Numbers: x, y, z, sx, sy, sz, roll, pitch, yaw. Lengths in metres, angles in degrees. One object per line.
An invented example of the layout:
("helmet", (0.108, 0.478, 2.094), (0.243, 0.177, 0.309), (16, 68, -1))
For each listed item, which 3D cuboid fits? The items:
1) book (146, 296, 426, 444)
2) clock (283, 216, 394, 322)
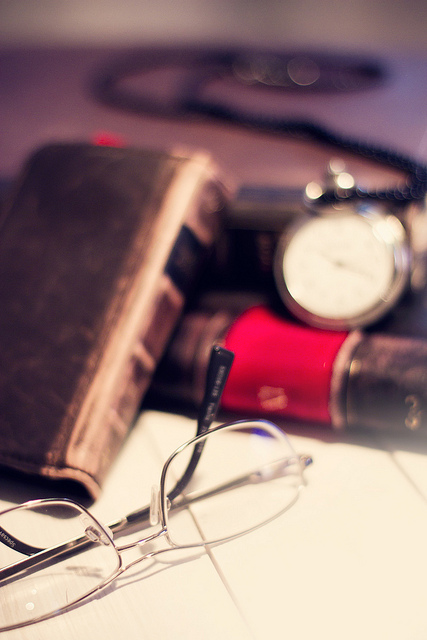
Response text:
("book", (0.071, 0.037, 0.591), (0.258, 0.090, 0.128), (8, 56, 13))
("clock", (0.115, -0.050, 0.556), (0.103, 0.054, 0.083), (25, 61, 23))
